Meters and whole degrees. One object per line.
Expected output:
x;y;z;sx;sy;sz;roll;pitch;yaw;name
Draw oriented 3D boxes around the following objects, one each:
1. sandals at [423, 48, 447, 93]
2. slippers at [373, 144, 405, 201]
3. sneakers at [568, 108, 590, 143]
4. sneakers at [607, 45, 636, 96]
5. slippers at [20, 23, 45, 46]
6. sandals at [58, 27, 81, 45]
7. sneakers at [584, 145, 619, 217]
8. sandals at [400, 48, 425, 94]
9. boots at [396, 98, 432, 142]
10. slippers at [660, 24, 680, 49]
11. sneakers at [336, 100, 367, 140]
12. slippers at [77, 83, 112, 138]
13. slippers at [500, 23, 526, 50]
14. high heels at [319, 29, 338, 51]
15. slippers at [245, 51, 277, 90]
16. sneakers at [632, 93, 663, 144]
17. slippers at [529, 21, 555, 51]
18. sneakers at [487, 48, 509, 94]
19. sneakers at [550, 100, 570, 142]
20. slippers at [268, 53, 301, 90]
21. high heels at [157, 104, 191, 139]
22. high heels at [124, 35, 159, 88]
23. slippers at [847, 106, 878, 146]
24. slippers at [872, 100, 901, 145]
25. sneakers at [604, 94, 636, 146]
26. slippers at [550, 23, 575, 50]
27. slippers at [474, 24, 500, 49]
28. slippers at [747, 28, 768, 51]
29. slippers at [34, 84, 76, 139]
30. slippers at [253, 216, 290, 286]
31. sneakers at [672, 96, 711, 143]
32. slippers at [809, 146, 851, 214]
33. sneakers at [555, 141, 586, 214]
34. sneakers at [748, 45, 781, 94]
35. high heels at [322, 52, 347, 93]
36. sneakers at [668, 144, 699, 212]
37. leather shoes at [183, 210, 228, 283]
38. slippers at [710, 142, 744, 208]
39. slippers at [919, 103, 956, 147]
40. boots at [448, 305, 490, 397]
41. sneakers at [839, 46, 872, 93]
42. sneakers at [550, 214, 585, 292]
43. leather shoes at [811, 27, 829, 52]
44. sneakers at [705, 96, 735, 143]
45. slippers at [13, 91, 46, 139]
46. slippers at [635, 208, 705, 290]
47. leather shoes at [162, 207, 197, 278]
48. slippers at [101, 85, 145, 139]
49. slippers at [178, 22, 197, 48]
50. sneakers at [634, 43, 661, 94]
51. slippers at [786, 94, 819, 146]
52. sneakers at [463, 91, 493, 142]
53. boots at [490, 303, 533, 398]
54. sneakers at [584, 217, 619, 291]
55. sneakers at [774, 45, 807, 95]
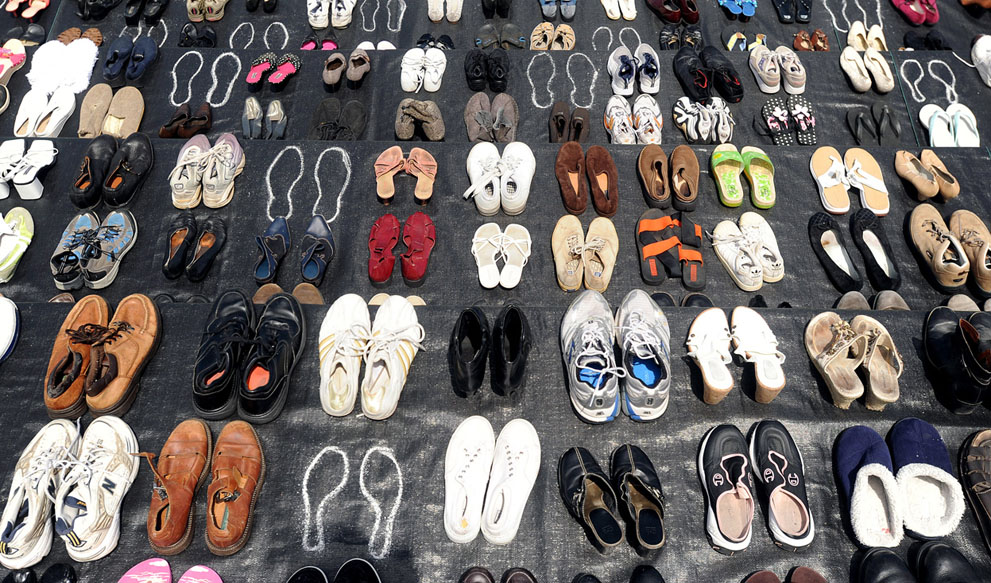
-0.645;-2.315;8.274;0.227;0.153;0.434;2;90;2;sandals
-1.043;-1.150;7.494;0.253;0.107;0.528;3;70;0;slippers
0.815;-1.658;7.891;0.123;0.145;0.388;4;89;7;sneakers
1.336;-2.349;8.267;0.263;0.251;0.636;1;62;-4;sneakers
-5.050;-2.789;8.545;0.208;0.089;0.285;15;71;-12;slippers
-4.634;-2.770;8.596;0.279;0.046;0.157;-32;78;-19;sandals
1.019;-1.089;7.572;0.249;0.249;0.706;-2;73;3;sneakers
-0.877;-2.306;8.185;0.240;0.164;0.462;8;93;5;sandals
-0.830;-1.708;7.893;0.345;0.173;0.395;4;65;-3;boots
1.895;-2.774;8.566;0.225;0.064;0.357;5;65;-2;slippers
-1.461;-1.730;7.969;0.176;0.181;0.476;3;79;-7;sneakers
-4.118;-1.826;8.014;0.243;0.203;0.701;6;80;-6;slippers
0.196;-2.798;8.616;0.300;0.104;0.452;3;65;-3;slippers
-1.824;-2.720;8.570;0.156;0.098;0.312;0;63;-2;high heels
-2.462;-2.321;8.219;0.217;0.127;0.474;15;70;-4;slippers
1.549;-1.729;7.970;0.219;0.247;0.642;-1;73;7;sneakers
0.500;-2.765;8.561;0.214;0.128;0.407;9;79;7;slippers
0.014;-2.304;8.202;0.216;0.150;0.429;1;86;3;sneakers
0.639;-1.732;7.941;0.146;0.149;0.432;4;87;10;sneakers
-2.211;-2.312;8.203;0.217;0.120;0.453;26;68;-4;slippers
-3.216;-1.660;7.864;0.179;0.128;0.495;11;76;11;high heels
-3.728;-2.430;8.233;0.225;0.209;0.596;7;75;-5;high heels
3.749;-1.685;8.040;0.214;0.091;0.440;0;70;12;slippers
4.007;-1.730;8.064;0.251;0.088;0.440;2;75;-3;slippers
1.257;-1.749;7.954;0.214;0.235;0.618;-2;75;5;sneakers
0.737;-2.751;8.535;0.202;0.127;0.362;10;81;10;slippers
-0.113;-2.796;8.614;0.254;0.127;0.443;1;65;-4;slippers
2.825;-2.698;8.498;0.197;0.091;0.289;12;82;14;slippers
-4.515;-1.815;8.098;0.240;0.211;0.650;11;83;-2;slippers
-2.060;-0.366;7.365;0.269;0.259;0.620;6;78;7;slippers
1.985;-1.731;7.981;0.222;0.251;0.577;-4;70;-2;sneakers
3.259;-1.081;7.637;0.298;0.207;0.686;-1;76;10;slippers
0.724;-1.100;7.570;0.266;0.217;0.687;-2;77;2;sneakers
2.821;-2.326;8.284;0.226;0.240;0.580;-3;74;6;sneakers
-1.689;-2.289;8.129;0.199;0.144;0.452;0;74;-2;high heels
1.821;-1.098;7.581;0.283;0.206;0.591;4;80;10;sneakers
-2.710;-0.376;7.391;0.255;0.239;0.681;11;81;-4;leather shoes
2.249;-1.093;7.599;0.255;0.168;0.626;1;77;7;slippers
4.507;-1.670;8.019;0.202;0.130;0.562;-4;75;24;slippers
-0.233;0.535;6.815;0.299;0.347;0.846;1;57;2;boots
3.785;-2.344;8.272;0.242;0.161;0.538;-11;79;10;sneakers
0.660;-0.348;7.282;0.284;0.256;0.670;1;82;5;sneakers
3.546;-2.722;8.582;0.179;0.116;0.323;3;80;10;leather shoes
2.275;-1.709;7.969;0.193;0.237;0.573;-1;80;5;sneakers
-4.781;-1.800;8.079;0.242;0.193;0.645;4;87;-3;slippers
1.634;-0.397;7.469;0.563;0.219;0.752;5;75;-3;slippers
-2.968;-0.454;7.343;0.227;0.179;0.631;3;80;-1;leather shoes
-3.800;-1.795;7.993;0.320;0.206;0.592;8;84;-3;slippers
-3.356;-2.768;8.537;0.169;0.114;0.312;0;87;-11;slippers
1.634;-2.369;8.353;0.263;0.257;0.631;-8;44;14;sneakers
3.157;-1.753;8.048;0.223;0.154;0.533;0;79;5;slippers
-0.172;-1.751;8.017;0.280;0.147;0.489;2;66;3;sneakers
0.110;0.460;6.881;0.383;0.947;0.369;18;113;-6;boots
0.978;-0.330;7.287;0.287;0.259;0.672;3;78;11;sneakers
3.108;-2.310;8.307;0.222;0.211;0.610;-4;74;5;sneakers
